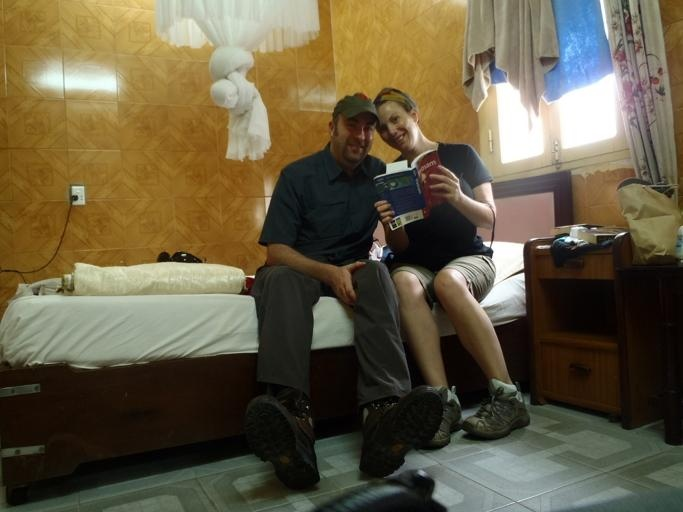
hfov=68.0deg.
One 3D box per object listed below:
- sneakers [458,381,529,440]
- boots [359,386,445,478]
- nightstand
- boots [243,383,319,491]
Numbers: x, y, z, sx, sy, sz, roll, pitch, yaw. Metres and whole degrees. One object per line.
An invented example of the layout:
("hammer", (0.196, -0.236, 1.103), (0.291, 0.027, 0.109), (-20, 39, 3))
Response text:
("sneakers", (0.609, 0.618, 2.083), (0.322, 0.234, 0.137), (-4, -4, -30))
("boots", (0.188, 0.568, 1.651), (0.124, 0.316, 0.152), (36, 6, -28))
("nightstand", (1.160, 0.309, 2.492), (0.653, 1.051, 0.648), (1, -1, -35))
("boots", (-0.192, 0.596, 1.693), (0.223, 0.332, 0.249), (-3, 4, -2))
